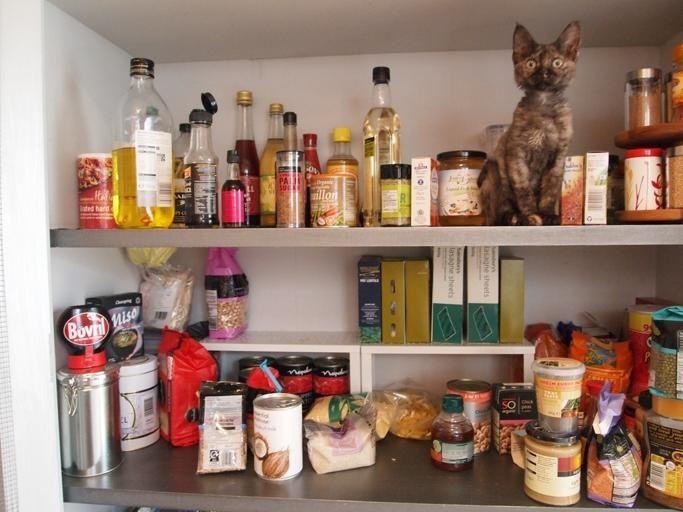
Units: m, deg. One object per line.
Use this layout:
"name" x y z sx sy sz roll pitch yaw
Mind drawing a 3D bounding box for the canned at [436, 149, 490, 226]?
"canned" 0.320 -0.182 1.684 0.181 0.264 0.181 -1 -1 6

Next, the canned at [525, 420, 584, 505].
"canned" 0.499 0.522 1.569 0.155 0.175 0.161 0 0 3

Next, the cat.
"cat" 0.487 -0.322 1.624 0.199 0.502 0.317 3 -13 -8

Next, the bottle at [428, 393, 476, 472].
"bottle" 0.302 0.467 1.644 0.117 0.195 0.097 2 -13 -4

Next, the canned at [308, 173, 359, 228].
"canned" -0.022 -0.149 1.705 0.135 0.144 0.137 0 0 -20

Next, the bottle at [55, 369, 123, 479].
"bottle" -0.653 0.429 1.604 0.170 0.281 0.092 5 -14 -19

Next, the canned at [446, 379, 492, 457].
"canned" 0.375 0.437 1.708 0.165 0.180 0.164 -2 4 -4

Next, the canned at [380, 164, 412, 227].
"canned" 0.143 -0.159 1.608 0.077 0.153 0.055 -1 -13 6
